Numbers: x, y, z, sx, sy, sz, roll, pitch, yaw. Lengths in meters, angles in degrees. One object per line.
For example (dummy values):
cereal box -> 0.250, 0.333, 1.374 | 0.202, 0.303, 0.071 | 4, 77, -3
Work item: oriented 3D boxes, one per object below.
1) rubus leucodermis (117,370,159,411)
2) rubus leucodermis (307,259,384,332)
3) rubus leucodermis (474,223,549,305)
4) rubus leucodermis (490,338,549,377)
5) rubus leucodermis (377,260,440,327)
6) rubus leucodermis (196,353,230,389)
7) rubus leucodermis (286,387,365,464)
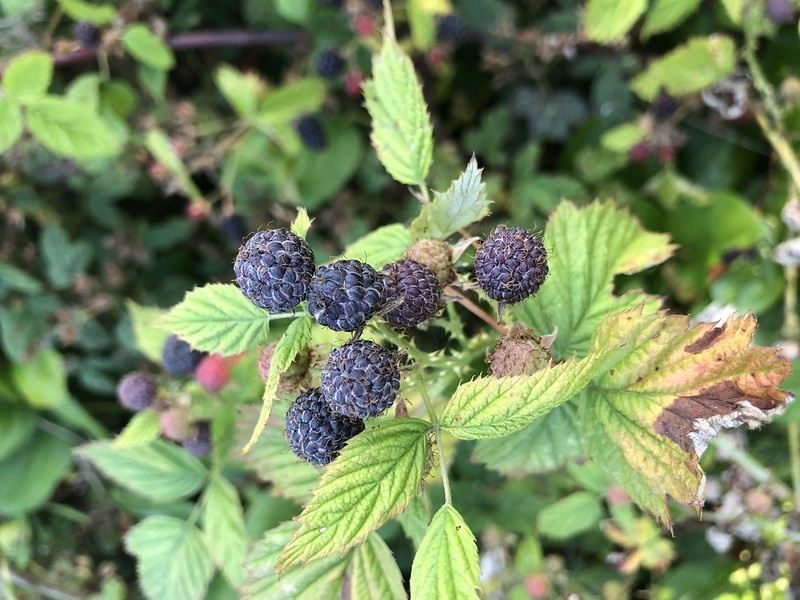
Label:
rubus leucodermis -> -0.769, 0.279, 2.539 | 0.097, 0.077, 0.120 | -24, 45, -8
rubus leucodermis -> -0.150, -0.020, 2.203 | 0.217, 0.186, 0.164 | -53, 133, -60
rubus leucodermis -> 0.286, -0.100, 2.203 | 0.155, 0.129, 0.198 | 20, 35, 7
rubus leucodermis -> 0.306, 0.146, 2.195 | 0.147, 0.052, 0.098 | -5, 83, 1
rubus leucodermis -> 0.021, -0.010, 2.184 | 0.135, 0.156, 0.119 | 2, 83, -22
rubus leucodermis -> -0.564, 0.221, 2.642 | 0.092, 0.128, 0.103 | -4, 94, -6
rubus leucodermis -> -0.206, 0.332, 2.179 | 0.170, 0.185, 0.193 | 24, 62, -27
